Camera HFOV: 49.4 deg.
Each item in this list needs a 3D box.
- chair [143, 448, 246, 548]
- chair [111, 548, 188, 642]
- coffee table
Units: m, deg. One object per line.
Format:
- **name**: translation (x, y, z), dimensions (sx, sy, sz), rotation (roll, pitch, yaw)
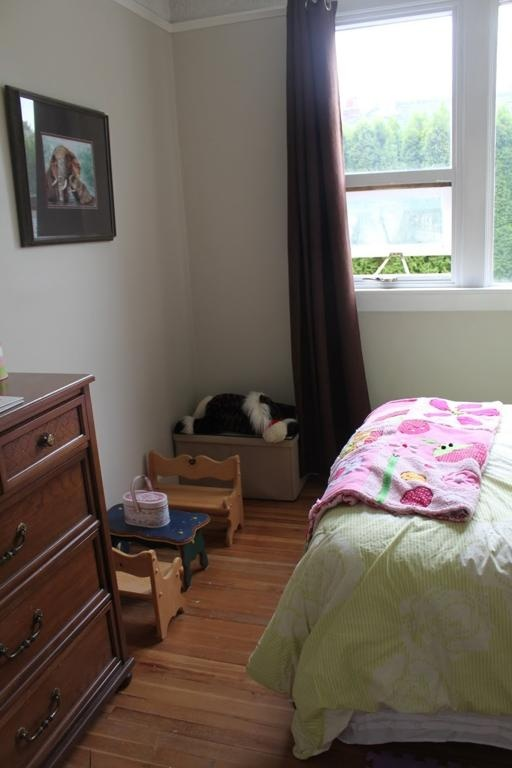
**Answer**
- **chair**: translation (-0.292, 0.498, 2.457), dimensions (0.396, 0.372, 0.222), rotation (3, 12, 10)
- **chair**: translation (-0.387, 0.642, 1.827), dimensions (0.264, 0.283, 0.185), rotation (-1, 8, 25)
- **coffee table**: translation (-0.401, 0.613, 2.095), dimensions (0.377, 0.214, 0.263), rotation (4, 12, 11)
